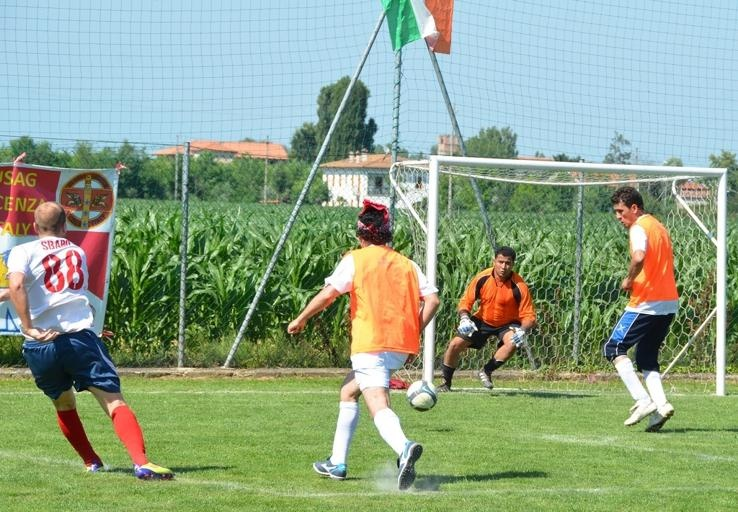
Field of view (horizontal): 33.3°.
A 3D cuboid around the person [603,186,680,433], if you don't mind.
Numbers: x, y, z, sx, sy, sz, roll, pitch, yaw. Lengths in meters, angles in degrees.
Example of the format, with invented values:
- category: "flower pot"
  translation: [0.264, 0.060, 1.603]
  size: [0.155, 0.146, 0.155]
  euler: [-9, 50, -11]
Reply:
- category: "person"
  translation: [3.150, 0.583, 13.911]
  size: [0.664, 2.725, 0.752]
  euler: [0, 1, -43]

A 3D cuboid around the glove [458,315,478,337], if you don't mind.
- category: "glove"
  translation: [1.245, 0.887, 15.420]
  size: [0.209, 0.258, 0.268]
  euler: [1, 1, 3]

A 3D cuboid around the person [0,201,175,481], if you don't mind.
- category: "person"
  translation: [-2.773, 0.770, 11.591]
  size: [1.261, 2.537, 0.718]
  euler: [0, 1, -13]

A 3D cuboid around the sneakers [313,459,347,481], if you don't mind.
- category: "sneakers"
  translation: [-0.343, 2.014, 11.717]
  size: [0.327, 0.190, 0.142]
  euler: [11, 1, 36]

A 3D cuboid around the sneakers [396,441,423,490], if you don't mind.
- category: "sneakers"
  translation: [0.381, 1.909, 11.238]
  size: [0.197, 0.466, 0.226]
  euler: [1, 1, -5]

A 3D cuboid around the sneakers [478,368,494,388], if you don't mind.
- category: "sneakers"
  translation: [1.533, 1.587, 15.927]
  size: [0.125, 0.310, 0.109]
  euler: [-17, -28, -9]

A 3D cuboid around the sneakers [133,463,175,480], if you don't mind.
- category: "sneakers"
  translation: [-1.988, 1.972, 11.413]
  size: [0.265, 0.137, 0.160]
  euler: [-2, 5, 6]

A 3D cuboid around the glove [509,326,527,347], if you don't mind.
- category: "glove"
  translation: [1.871, 1.000, 15.395]
  size: [0.177, 0.264, 0.064]
  euler: [2, 1, -1]
